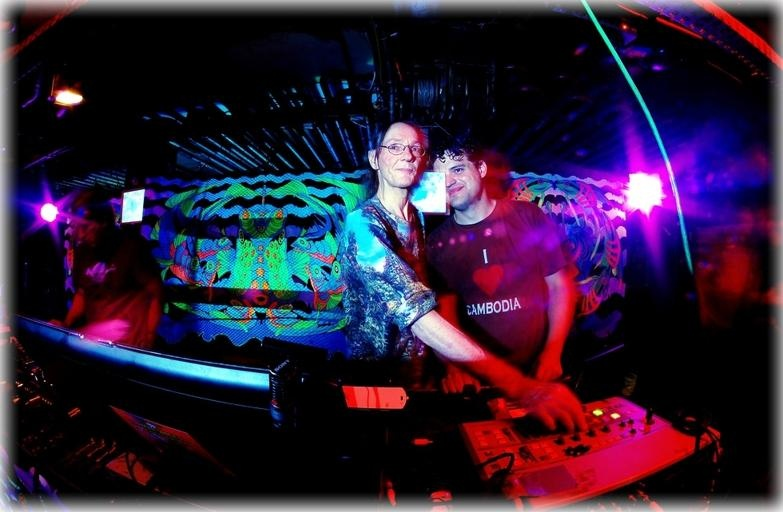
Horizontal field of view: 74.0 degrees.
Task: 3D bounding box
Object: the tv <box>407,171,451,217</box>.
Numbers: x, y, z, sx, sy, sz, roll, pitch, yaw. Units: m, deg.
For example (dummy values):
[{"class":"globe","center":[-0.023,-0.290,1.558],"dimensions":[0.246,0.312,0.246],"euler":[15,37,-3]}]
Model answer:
[{"class":"tv","center":[0.310,-0.525,4.357],"dimensions":[0.404,0.329,0.095],"euler":[-6,6,-39]}]
